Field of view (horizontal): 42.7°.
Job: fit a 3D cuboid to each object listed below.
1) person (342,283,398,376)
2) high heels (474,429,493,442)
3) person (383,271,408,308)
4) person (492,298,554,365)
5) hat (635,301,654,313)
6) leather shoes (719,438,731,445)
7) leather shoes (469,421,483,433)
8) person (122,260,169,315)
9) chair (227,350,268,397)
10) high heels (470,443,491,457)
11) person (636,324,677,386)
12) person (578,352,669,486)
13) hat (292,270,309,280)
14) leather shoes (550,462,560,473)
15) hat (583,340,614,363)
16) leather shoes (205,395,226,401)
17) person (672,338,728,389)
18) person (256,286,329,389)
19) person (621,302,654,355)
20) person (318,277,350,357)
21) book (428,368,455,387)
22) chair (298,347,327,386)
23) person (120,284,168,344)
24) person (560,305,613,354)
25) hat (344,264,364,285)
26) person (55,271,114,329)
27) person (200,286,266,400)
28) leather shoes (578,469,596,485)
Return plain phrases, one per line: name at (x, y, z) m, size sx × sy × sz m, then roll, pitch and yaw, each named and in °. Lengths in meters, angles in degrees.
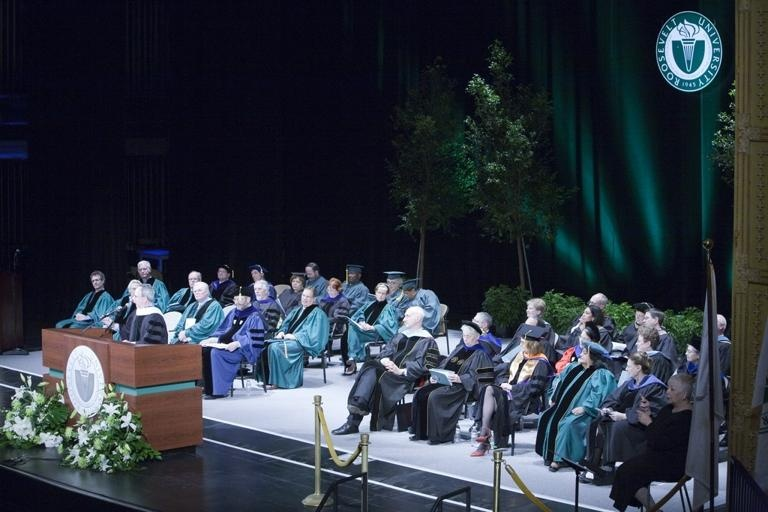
person at (-0.279, 1.482, 19.995) m, size 0.985 × 1.895 × 0.967 m, roll 7°, pitch 0°, yaw -3°
high heels at (1.538, 2.844, 15.555) m, size 0.124 × 0.195 × 0.391 m, roll 24°, pitch -23°, yaw -20°
person at (0.250, 0.702, 21.076) m, size 0.642 × 0.894 × 0.564 m, roll -3°, pitch -5°, yaw 44°
person at (2.557, 1.312, 17.592) m, size 1.081 × 1.375 × 1.054 m, roll 2°, pitch 0°, yaw -28°
hat at (4.640, 0.911, 17.593) m, size 0.228 × 0.141 × 0.296 m, roll 0°, pitch 0°, yaw 16°
leather shoes at (5.384, 2.927, 15.560) m, size 0.074 × 0.143 × 0.112 m, roll 1°, pitch -1°, yaw -44°
leather shoes at (1.500, 2.776, 15.998) m, size 0.161 × 0.189 × 0.174 m, roll -1°, pitch -9°, yaw 16°
person at (-5.294, 0.791, 21.570) m, size 0.908 × 1.285 × 0.860 m, roll -1°, pitch -9°, yaw -8°
chair at (-2.611, 2.266, 19.100) m, size 0.735 × 1.276 × 0.708 m, roll 9°, pitch -11°, yaw -39°
high heels at (1.520, 3.047, 15.482) m, size 0.384 × 0.176 × 0.132 m, roll 1°, pitch -16°, yaw -37°
person at (4.286, 1.688, 15.715) m, size 0.572 × 1.140 × 0.426 m, roll -13°, pitch 17°, yaw -9°
person at (3.641, 2.415, 14.856) m, size 0.951 × 1.952 × 0.955 m, roll 8°, pitch -4°, yaw -20°
hat at (-1.897, 0.397, 21.885) m, size 0.239 × 0.237 × 0.257 m, roll 1°, pitch -4°, yaw 6°
leather shoes at (2.615, 3.198, 14.964) m, size 0.117 × 0.119 × 0.314 m, roll -2°, pitch -7°, yaw 10°
hat at (3.346, 1.474, 15.307) m, size 0.379 × 0.124 × 0.309 m, roll 34°, pitch 7°, yaw -25°
leather shoes at (-3.074, 2.567, 18.003) m, size 0.388 × 0.062 × 0.172 m, roll 0°, pitch -1°, yaw -5°
person at (4.665, 1.585, 14.433) m, size 0.333 × 0.544 × 0.862 m, roll 0°, pitch -3°, yaw 1°
person at (-1.763, 1.569, 18.953) m, size 1.392 × 1.881 × 0.589 m, roll 1°, pitch -1°, yaw -34°
person at (4.480, 1.302, 17.320) m, size 0.309 × 0.896 × 0.566 m, roll 12°, pitch 11°, yaw -19°
person at (-1.119, 1.279, 20.885) m, size 0.754 × 1.511 × 0.711 m, roll -17°, pitch 25°, yaw -40°
book at (0.867, 1.951, 16.045) m, size 0.384 × 0.268 × 0.615 m, roll 1°, pitch -2°, yaw -32°
chair at (-1.410, 2.182, 19.618) m, size 0.551 × 0.863 × 0.594 m, roll -1°, pitch -7°, yaw 9°
person at (-4.151, 1.094, 16.815) m, size 0.634 × 0.944 × 0.554 m, roll 1°, pitch 9°, yaw 18°
person at (3.679, 1.254, 17.474) m, size 0.671 × 1.267 × 1.054 m, roll 4°, pitch 4°, yaw 3°
hat at (-0.666, 0.423, 22.378) m, size 0.431 × 0.516 × 0.399 m, roll 6°, pitch -2°, yaw -38°
person at (-6.317, 1.032, 20.961) m, size 0.876 × 1.411 × 1.022 m, roll 13°, pitch 21°, yaw 29°
person at (-2.834, 1.667, 18.446) m, size 1.226 × 1.855 × 0.687 m, roll 0°, pitch 0°, yaw -26°
leather shoes at (3.021, 3.272, 14.633) m, size 0.194 × 0.174 × 0.098 m, roll 0°, pitch -1°, yaw 22°
